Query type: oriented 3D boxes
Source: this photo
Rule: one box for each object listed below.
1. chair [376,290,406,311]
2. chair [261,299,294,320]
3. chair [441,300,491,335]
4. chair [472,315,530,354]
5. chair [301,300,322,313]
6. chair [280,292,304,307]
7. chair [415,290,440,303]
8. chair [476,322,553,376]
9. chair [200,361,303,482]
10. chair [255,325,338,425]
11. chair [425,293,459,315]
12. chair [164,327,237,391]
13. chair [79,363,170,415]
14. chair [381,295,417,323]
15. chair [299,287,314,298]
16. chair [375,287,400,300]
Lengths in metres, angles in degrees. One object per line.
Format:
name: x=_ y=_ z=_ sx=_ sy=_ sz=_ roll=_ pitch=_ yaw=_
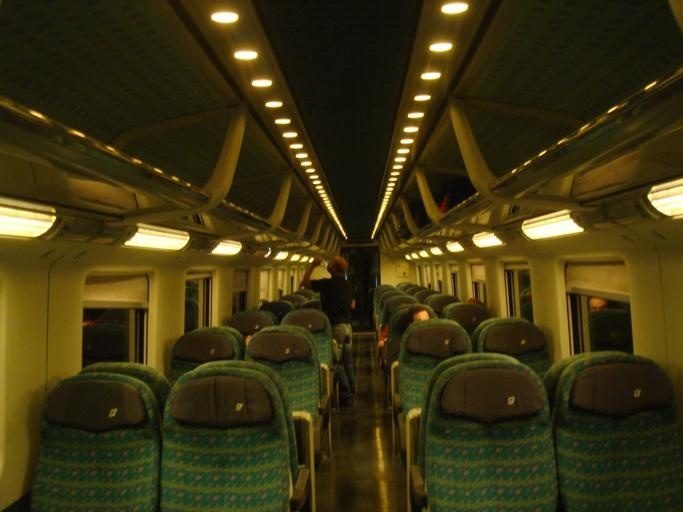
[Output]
chair: x=1.048 y=0.980 z=11.393 sx=0.445 sy=0.541 sz=0.571 roll=-1 pitch=2 yaw=6
chair: x=-1.183 y=0.941 z=9.181 sx=0.458 sy=0.391 sz=0.428 roll=1 pitch=2 yaw=8
chair: x=1.856 y=0.877 z=7.696 sx=0.621 sy=0.579 sz=0.510 roll=2 pitch=-8 yaw=0
chair: x=1.838 y=0.932 z=5.870 sx=0.563 sy=0.522 sz=0.463 roll=2 pitch=-12 yaw=-4
chair: x=-0.605 y=0.953 z=10.099 sx=0.287 sy=0.374 sz=0.317 roll=1 pitch=1 yaw=2
chair: x=-1.130 y=0.987 z=11.932 sx=0.329 sy=0.426 sz=0.362 roll=-1 pitch=-22 yaw=3
chair: x=1.860 y=0.879 z=11.435 sx=0.303 sy=0.335 sz=0.398 roll=1 pitch=-8 yaw=-1
chair: x=1.883 y=0.943 z=5.858 sx=0.803 sy=0.802 sz=0.709 roll=-1 pitch=-11 yaw=0
chair: x=-0.464 y=1.041 z=3.726 sx=0.999 sy=0.935 sz=0.844 roll=-1 pitch=-7 yaw=-1
chair: x=-0.338 y=1.203 z=5.804 sx=0.837 sy=1.089 sz=1.029 roll=-2 pitch=0 yaw=3
chair: x=1.871 y=0.856 z=9.628 sx=0.472 sy=0.522 sz=0.443 roll=2 pitch=-4 yaw=-1
chair: x=-1.593 y=1.212 z=6.200 sx=0.723 sy=0.950 sz=0.830 roll=-3 pitch=-9 yaw=4
chair: x=-1.516 y=0.912 z=3.811 sx=0.385 sy=0.191 sz=0.527 roll=6 pitch=-4 yaw=-8
chair: x=1.066 y=0.987 z=9.572 sx=0.454 sy=0.546 sz=0.608 roll=-1 pitch=-7 yaw=6
chair: x=-0.973 y=0.991 z=14.120 sx=0.401 sy=0.350 sz=0.528 roll=1 pitch=-7 yaw=2
chair: x=1.064 y=0.779 z=11.996 sx=0.442 sy=0.411 sz=0.410 roll=0 pitch=-20 yaw=-1
